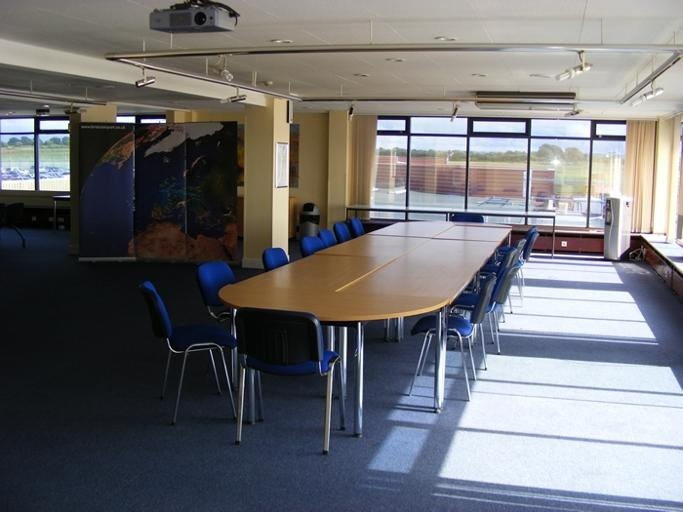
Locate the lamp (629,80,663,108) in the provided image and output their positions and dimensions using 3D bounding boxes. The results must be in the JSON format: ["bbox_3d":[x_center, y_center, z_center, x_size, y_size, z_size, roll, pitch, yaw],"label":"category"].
[{"bbox_3d":[5.330,-2.814,8.770,0.419,0.323,3.239,8,13,30],"label":"lamp"}]

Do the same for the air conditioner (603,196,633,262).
[{"bbox_3d":[6.507,-0.660,11.939,0.582,1.490,0.425,7,14,29],"label":"air conditioner"}]

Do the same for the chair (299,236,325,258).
[{"bbox_3d":[-0.398,-0.130,6.998,0.295,0.464,0.290,1,5,36],"label":"chair"}]

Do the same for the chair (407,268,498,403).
[{"bbox_3d":[1.303,0.724,5.548,1.188,1.765,1.028,3,4,18],"label":"chair"}]

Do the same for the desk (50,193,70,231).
[{"bbox_3d":[-8.317,-1.296,15.047,0.480,1.069,0.973,-6,14,-30],"label":"desk"}]

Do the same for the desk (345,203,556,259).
[{"bbox_3d":[2.986,-0.665,13.880,5.564,1.306,0.896,4,2,16],"label":"desk"}]
